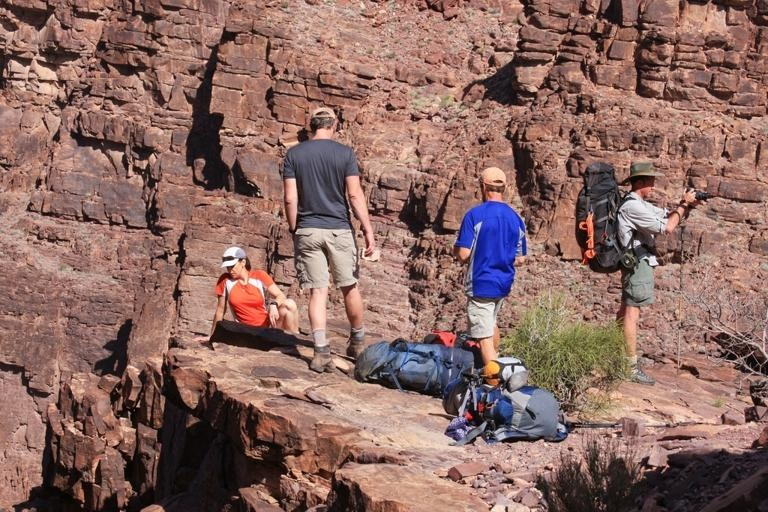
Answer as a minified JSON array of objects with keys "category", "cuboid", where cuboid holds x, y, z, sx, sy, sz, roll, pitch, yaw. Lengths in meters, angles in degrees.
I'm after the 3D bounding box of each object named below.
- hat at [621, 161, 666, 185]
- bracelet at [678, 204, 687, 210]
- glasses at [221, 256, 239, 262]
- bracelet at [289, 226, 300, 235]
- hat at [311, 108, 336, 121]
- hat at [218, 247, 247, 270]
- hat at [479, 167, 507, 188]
[{"category":"hat","cuboid":[4.955,-1.594,20.501,0.593,0.280,0.674,-3,1,39]},{"category":"bracelet","cuboid":[5.467,-0.914,19.997,0.144,0.079,0.187,4,-1,13]},{"category":"glasses","cuboid":[-2.970,0.046,21.033,0.252,0.102,0.095,4,-1,10]},{"category":"bracelet","cuboid":[-1.644,-0.460,19.963,0.110,0.121,0.115,3,0,7]},{"category":"hat","cuboid":[-1.064,-2.596,19.951,0.386,0.218,0.404,4,-1,10]},{"category":"hat","cuboid":[-2.848,0.039,21.194,0.317,0.266,0.486,2,12,29]},{"category":"hat","cuboid":[1.943,-1.402,19.647,0.296,0.237,0.399,-1,8,-23]}]
